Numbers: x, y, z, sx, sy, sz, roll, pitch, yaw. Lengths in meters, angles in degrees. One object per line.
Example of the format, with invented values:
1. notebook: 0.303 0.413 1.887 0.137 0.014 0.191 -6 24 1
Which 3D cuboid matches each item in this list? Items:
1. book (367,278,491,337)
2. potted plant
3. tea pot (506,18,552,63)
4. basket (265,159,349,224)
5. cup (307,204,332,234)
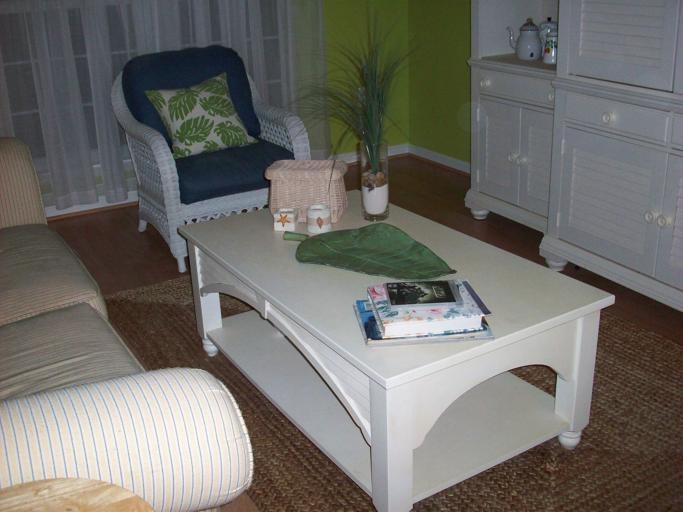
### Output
1. book: 0.229 0.151 1.515 0.189 0.042 0.196 -1 27 -3
2. potted plant: 0.091 -0.521 2.286 0.390 0.669 0.361 -6 8 -23
3. tea pot: 1.075 -1.250 3.195 0.240 0.215 0.170 4 24 7
4. basket: -0.146 -0.278 2.311 0.303 0.225 0.191 0 23 12
5. cup: -0.088 -0.139 2.177 0.099 0.100 0.096 0 31 0
